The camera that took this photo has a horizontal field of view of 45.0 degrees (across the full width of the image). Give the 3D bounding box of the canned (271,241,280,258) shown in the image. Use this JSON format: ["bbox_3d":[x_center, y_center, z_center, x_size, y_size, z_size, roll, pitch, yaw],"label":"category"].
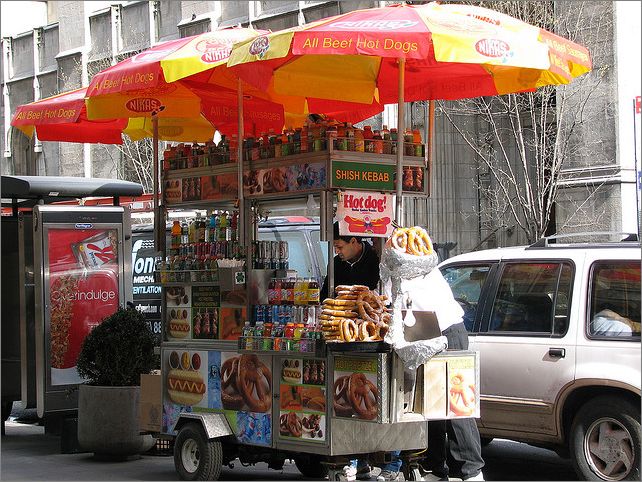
[{"bbox_3d":[-0.506,0.102,8.562,0.065,0.189,0.146,-1,-1,38],"label":"canned"}]

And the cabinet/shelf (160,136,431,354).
[{"bbox_3d":[-0.127,-0.119,9.058,2.629,1.990,1.629,-4,-9,37],"label":"cabinet/shelf"}]

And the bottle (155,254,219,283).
[{"bbox_3d":[-1.546,0.327,8.942,0.821,0.318,0.215,-3,-4,43],"label":"bottle"}]

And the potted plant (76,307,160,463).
[{"bbox_3d":[-2.610,1.864,9.887,1.025,1.946,0.624,0,-1,-10],"label":"potted plant"}]

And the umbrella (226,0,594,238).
[{"bbox_3d":[0.925,-1.439,8.412,3.168,2.521,3.386,-1,0,41],"label":"umbrella"}]

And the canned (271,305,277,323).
[{"bbox_3d":[-0.481,0.770,8.085,0.062,0.164,0.128,0,-1,-22],"label":"canned"}]

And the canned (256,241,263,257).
[{"bbox_3d":[-0.662,0.090,8.461,0.096,0.166,0.039,0,-1,-7],"label":"canned"}]

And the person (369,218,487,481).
[{"bbox_3d":[1.096,1.146,7.520,0.755,2.596,1.225,-1,-1,29],"label":"person"}]

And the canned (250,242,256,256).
[{"bbox_3d":[-0.733,0.087,8.466,0.062,0.145,0.049,0,-1,-5],"label":"canned"}]

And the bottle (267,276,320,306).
[{"bbox_3d":[-0.287,0.544,8.143,0.567,0.274,0.163,-1,-1,31],"label":"bottle"}]
